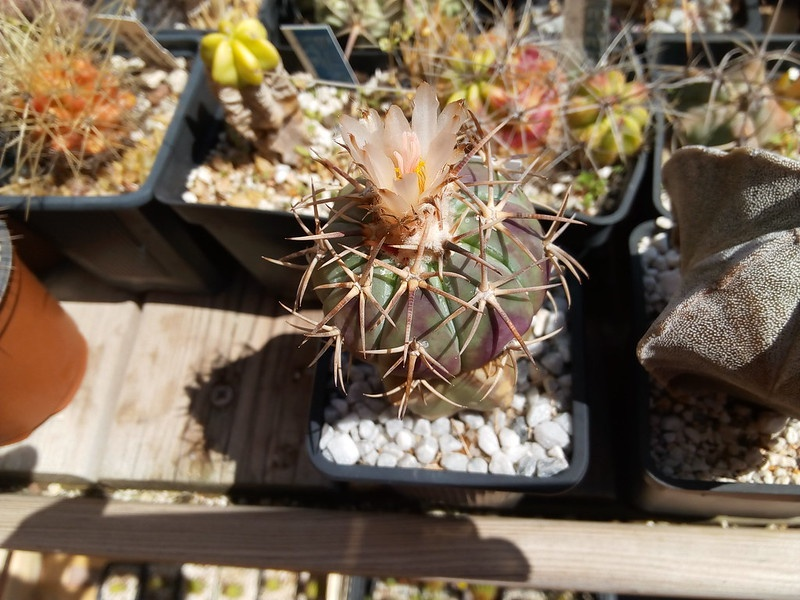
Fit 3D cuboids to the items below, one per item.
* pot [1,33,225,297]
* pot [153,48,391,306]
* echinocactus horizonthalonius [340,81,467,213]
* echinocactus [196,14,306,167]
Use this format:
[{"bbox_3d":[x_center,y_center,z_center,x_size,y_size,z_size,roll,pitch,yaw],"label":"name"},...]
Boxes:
[{"bbox_3d":[-0.389,-0.205,1.311,0.442,0.360,0.403,-2,67,6],"label":"pot"},{"bbox_3d":[-0.164,-0.203,1.285,0.356,0.409,0.352,-1,74,3],"label":"pot"},{"bbox_3d":[0.014,-0.156,0.782,0.132,0.140,0.132,0,90,0],"label":"echinocactus horizonthalonius"},{"bbox_3d":[-0.259,-0.350,1.162,0.117,0.260,0.118,-40,73,-10],"label":"echinocactus"}]
